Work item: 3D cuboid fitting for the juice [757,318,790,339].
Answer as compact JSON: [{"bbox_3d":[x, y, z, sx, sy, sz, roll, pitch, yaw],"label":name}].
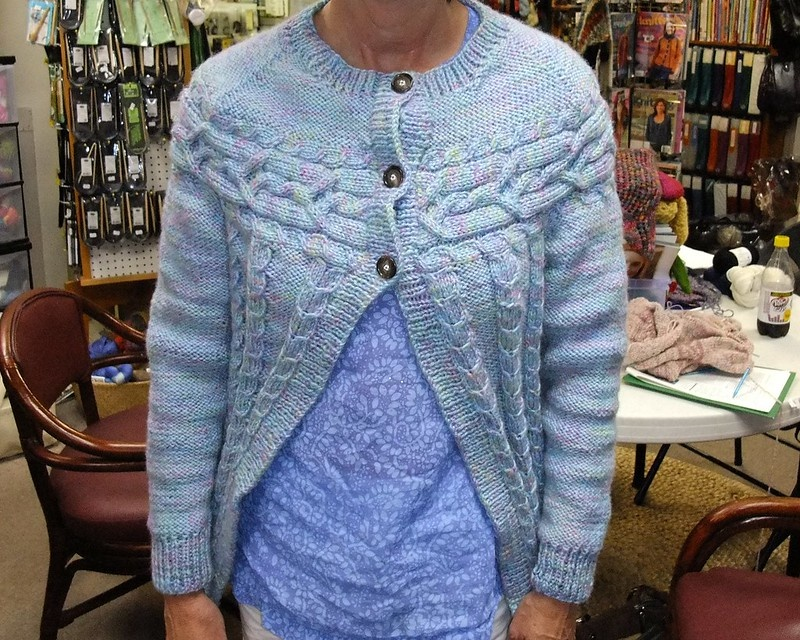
[{"bbox_3d":[1.161,0.029,2.359,0.061,0.074,0.065,-2,5,-11],"label":"juice"}]
